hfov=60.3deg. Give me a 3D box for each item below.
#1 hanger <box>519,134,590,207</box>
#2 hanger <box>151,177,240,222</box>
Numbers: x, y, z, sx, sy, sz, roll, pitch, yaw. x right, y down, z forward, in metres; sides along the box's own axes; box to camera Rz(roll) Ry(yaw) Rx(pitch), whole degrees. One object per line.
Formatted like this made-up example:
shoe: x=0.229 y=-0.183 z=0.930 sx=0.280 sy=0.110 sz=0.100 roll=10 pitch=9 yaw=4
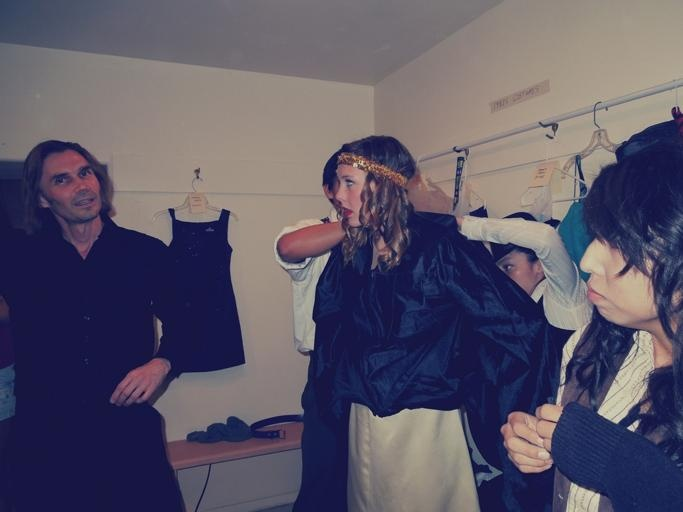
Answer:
hanger: x=0.978 y=-0.344 z=2.745 sx=0.374 sy=0.323 sz=0.205 roll=1 pitch=1 yaw=-27
hanger: x=-0.970 y=-0.383 z=3.909 sx=0.048 sy=0.304 sz=0.503 roll=-9 pitch=-2 yaw=33
